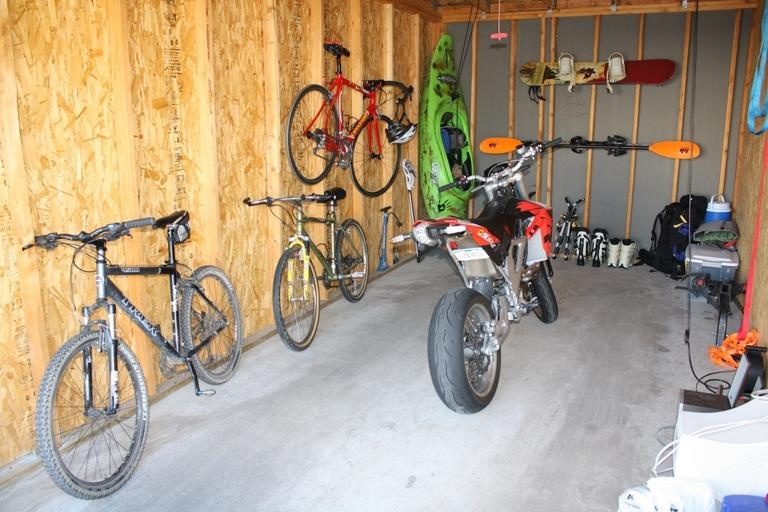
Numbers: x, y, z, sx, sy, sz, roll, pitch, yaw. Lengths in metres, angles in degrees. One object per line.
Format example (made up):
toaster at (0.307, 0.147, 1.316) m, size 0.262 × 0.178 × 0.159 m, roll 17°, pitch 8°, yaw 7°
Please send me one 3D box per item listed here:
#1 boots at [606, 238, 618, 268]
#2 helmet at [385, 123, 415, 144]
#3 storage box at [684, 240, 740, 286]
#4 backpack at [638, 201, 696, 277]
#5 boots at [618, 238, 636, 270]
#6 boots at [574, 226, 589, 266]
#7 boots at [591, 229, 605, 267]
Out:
boots at (2.880, -0.045, 6.907) m, size 0.121 × 0.403 × 0.152 m, roll 4°, pitch -10°, yaw 32°
helmet at (0.141, -1.280, 5.907) m, size 0.315 × 0.151 × 0.211 m, roll 0°, pitch 47°, yaw 36°
storage box at (3.098, 0.043, 5.203) m, size 0.422 × 0.284 × 0.435 m, roll 8°, pitch 34°, yaw 26°
backpack at (3.391, -0.207, 6.563) m, size 0.470 × 0.879 × 0.760 m, roll 9°, pitch 10°, yaw 18°
boots at (3.031, -0.078, 6.852) m, size 0.148 × 0.183 × 0.436 m, roll 6°, pitch 56°, yaw 29°
boots at (2.543, -0.134, 7.070) m, size 0.157 × 0.510 × 0.204 m, roll 3°, pitch 6°, yaw 18°
boots at (2.724, -0.111, 6.997) m, size 0.172 × 0.513 × 0.205 m, roll 6°, pitch 4°, yaw 19°
